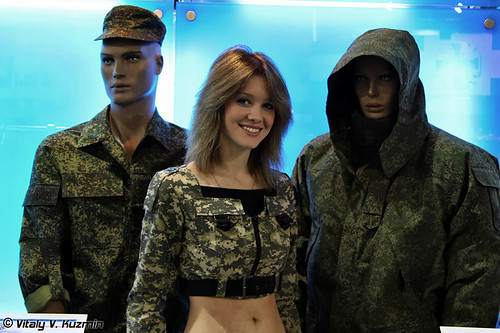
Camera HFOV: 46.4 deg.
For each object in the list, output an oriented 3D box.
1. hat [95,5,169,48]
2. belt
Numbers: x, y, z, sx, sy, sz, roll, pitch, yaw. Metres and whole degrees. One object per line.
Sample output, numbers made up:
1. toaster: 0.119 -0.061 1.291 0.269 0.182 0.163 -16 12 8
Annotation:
1. hat: -0.888 -1.061 4.501 0.321 0.175 0.416 1 0 32
2. belt: -0.150 0.822 4.004 0.651 0.150 0.126 0 -9 -6
